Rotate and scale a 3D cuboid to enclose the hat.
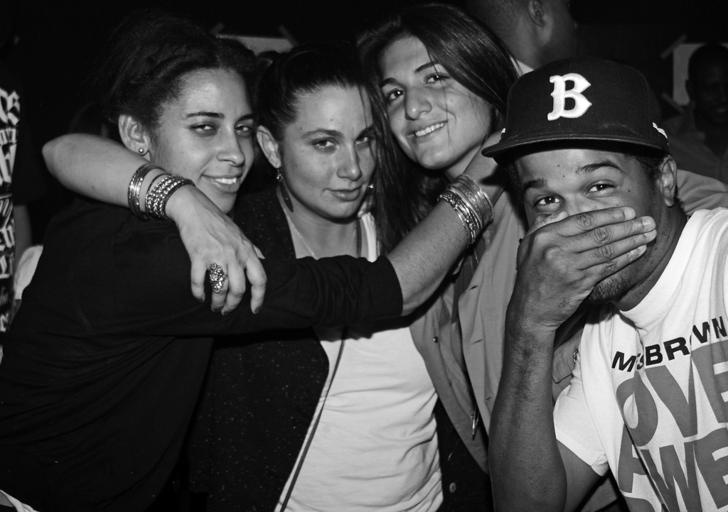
[{"bbox_3d":[0.790,-0.579,2.579,0.627,0.377,0.675,0,4,29],"label":"hat"}]
